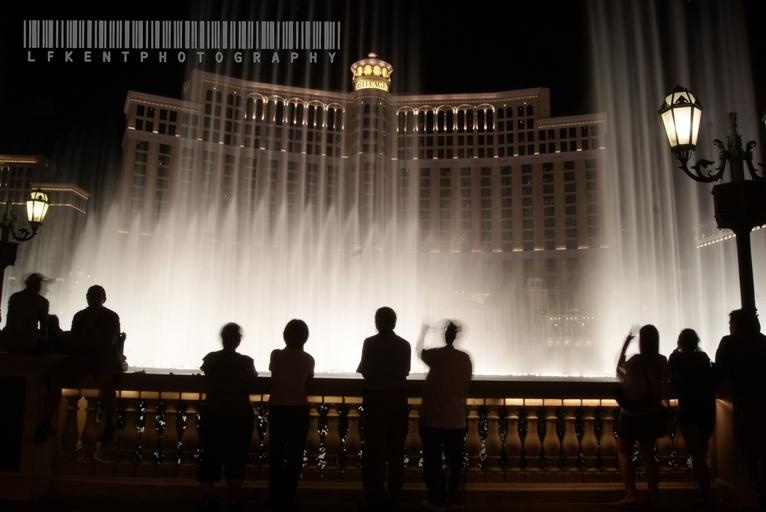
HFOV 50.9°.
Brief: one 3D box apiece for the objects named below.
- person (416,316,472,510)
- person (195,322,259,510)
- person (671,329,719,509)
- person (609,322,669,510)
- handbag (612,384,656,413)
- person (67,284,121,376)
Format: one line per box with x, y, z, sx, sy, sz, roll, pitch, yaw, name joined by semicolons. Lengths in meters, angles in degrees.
1.147;2.990;15.183;0.953;3.481;0.457;0;-11;2;person
-2.939;3.018;15.023;1.013;3.431;0.493;2;-11;-7;person
5.930;3.112;15.336;0.854;3.391;0.521;-2;-12;16;person
4.891;3.025;15.195;0.996;3.346;0.538;-2;-12;15;person
4.700;2.722;15.147;0.621;0.569;0.438;-4;-1;19;handbag
-5.631;1.488;15.882;1.009;1.749;1.261;4;-12;-17;person
